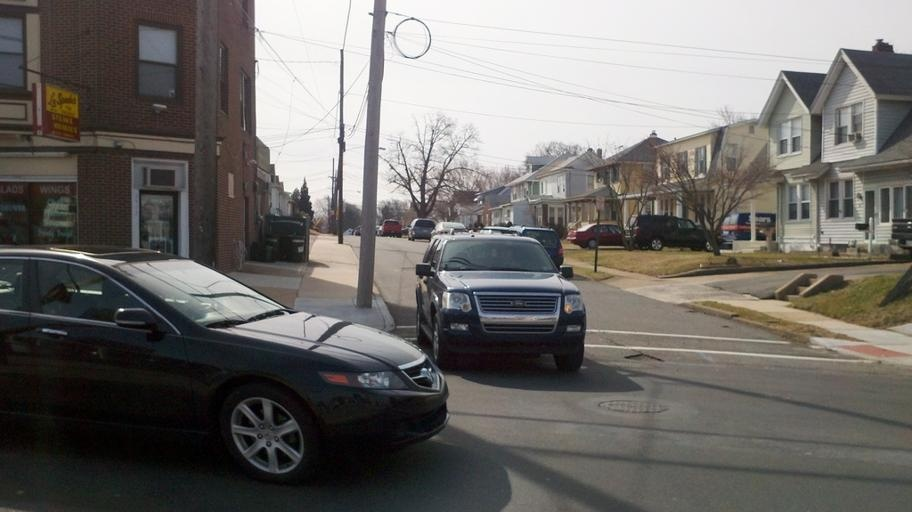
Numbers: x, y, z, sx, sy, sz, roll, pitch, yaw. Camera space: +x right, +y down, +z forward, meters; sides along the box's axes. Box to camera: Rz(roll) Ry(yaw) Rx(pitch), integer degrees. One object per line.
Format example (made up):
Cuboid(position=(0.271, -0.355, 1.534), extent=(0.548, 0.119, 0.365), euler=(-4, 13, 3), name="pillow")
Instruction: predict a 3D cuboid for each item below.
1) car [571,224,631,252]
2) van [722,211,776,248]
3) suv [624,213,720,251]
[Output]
Cuboid(position=(8.386, -1.074, 41.813), extent=(3.309, 1.012, 1.470), euler=(-2, 3, 8), name="car")
Cuboid(position=(17.923, -1.759, 44.306), extent=(2.896, 1.717, 5.839), euler=(4, 10, 20), name="van")
Cuboid(position=(11.291, -1.232, 39.021), extent=(4.155, 1.485, 1.907), euler=(-1, 3, -5), name="suv")
